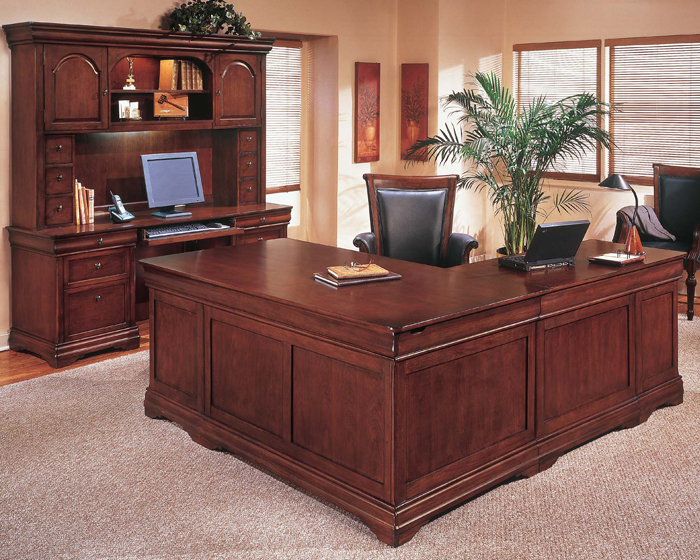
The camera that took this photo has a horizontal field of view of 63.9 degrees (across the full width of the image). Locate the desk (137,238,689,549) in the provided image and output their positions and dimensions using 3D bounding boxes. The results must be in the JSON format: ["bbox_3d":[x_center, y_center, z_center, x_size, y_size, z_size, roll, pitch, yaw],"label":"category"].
[{"bbox_3d":[0.598,0.394,2.847,1.743,0.598,1.697,-5,9,-44],"label":"desk"}]

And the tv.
[{"bbox_3d":[-1.615,-0.849,5.038,0.678,0.568,0.276,-7,15,-44],"label":"tv"}]

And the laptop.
[{"bbox_3d":[1.040,-0.179,3.008,0.371,0.236,0.337,-7,13,-32],"label":"laptop"}]

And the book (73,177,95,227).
[{"bbox_3d":[-2.112,-0.614,4.499,0.116,0.337,0.287,-2,11,-7],"label":"book"}]
